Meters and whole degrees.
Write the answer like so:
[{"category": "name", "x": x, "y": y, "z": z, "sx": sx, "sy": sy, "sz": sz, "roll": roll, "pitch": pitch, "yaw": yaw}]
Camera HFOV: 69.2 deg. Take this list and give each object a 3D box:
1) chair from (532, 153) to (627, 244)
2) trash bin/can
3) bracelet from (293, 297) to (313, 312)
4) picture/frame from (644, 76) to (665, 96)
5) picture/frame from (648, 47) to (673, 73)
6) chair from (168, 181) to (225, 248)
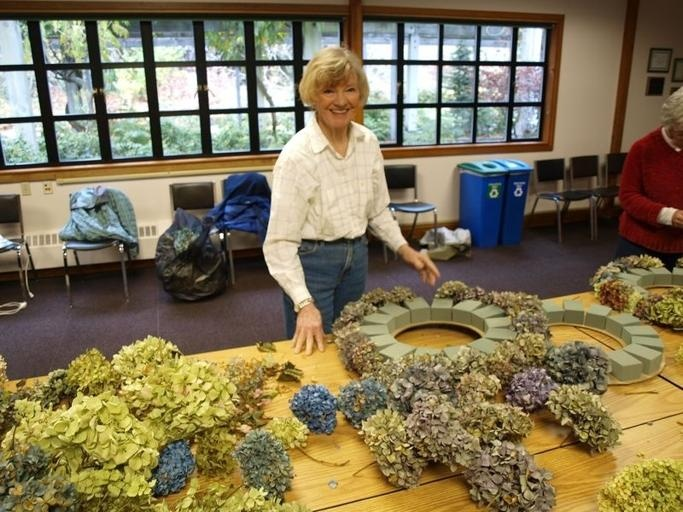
[{"category": "chair", "x": 2.948, "y": -0.736, "z": 6.249, "sx": 1.130, "sy": 0.927, "sz": 0.616, "roll": -10, "pitch": 18, "yaw": -22}, {"category": "trash bin/can", "x": 1.845, "y": -0.626, "z": 5.981, "sx": 0.822, "sy": 0.968, "sz": 0.525, "roll": 1, "pitch": 19, "yaw": 14}, {"category": "bracelet", "x": -0.146, "y": 0.183, "z": 1.864, "sx": 0.054, "sy": 0.055, "sz": 0.057, "roll": -27, "pitch": 10, "yaw": -21}, {"category": "picture/frame", "x": 4.323, "y": -2.352, "z": 6.833, "sx": 0.239, "sy": 0.234, "sz": 0.034, "roll": -4, "pitch": 14, "yaw": -5}, {"category": "picture/frame", "x": 4.353, "y": -2.682, "z": 6.762, "sx": 0.307, "sy": 0.274, "sz": 0.026, "roll": -10, "pitch": 16, "yaw": -21}, {"category": "chair", "x": -1.557, "y": -0.466, "z": 5.266, "sx": 0.484, "sy": 0.601, "sz": 0.468, "roll": -9, "pitch": 19, "yaw": -15}]
